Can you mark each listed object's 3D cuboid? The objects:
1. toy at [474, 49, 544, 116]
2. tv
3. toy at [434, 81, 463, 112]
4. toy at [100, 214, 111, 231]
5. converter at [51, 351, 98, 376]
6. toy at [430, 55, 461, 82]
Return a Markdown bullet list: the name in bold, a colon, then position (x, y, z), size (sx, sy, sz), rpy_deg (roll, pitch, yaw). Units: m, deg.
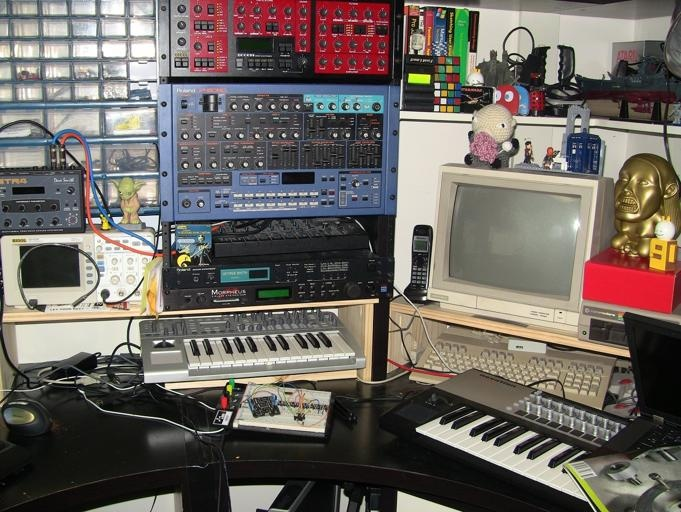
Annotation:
- **toy**: position (0.761, -0.772, 2.550), size (0.382, 0.365, 0.169), rpy_deg (6, 20, 17)
- **tv**: position (0.686, -0.068, 2.547), size (0.900, 0.801, 0.637), rpy_deg (9, 13, 29)
- **toy**: position (0.467, -0.700, 2.490), size (0.136, 0.119, 0.031), rpy_deg (2, 7, -6)
- **toy**: position (-0.948, -0.133, 2.293), size (0.054, 0.058, 0.061), rpy_deg (-2, 13, -16)
- **converter**: position (-1.141, 0.454, 2.424), size (0.078, 0.050, 0.140), rpy_deg (9, 9, 25)
- **toy**: position (0.465, -0.826, 2.499), size (0.115, 0.113, 0.051), rpy_deg (0, 14, 1)
